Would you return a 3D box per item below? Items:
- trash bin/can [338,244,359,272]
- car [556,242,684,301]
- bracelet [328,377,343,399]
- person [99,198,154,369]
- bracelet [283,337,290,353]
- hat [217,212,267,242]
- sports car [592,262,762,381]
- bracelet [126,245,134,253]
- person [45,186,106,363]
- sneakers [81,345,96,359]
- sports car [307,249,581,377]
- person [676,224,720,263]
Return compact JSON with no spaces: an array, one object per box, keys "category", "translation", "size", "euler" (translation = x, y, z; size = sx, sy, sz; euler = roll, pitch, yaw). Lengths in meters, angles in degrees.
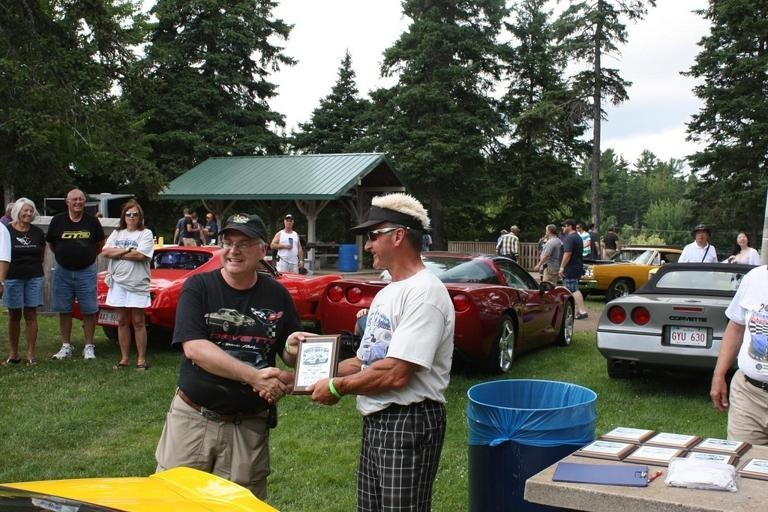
[{"category":"trash bin/can","translation":[-1.278,0.087,25.982],"size":[0.797,0.931,0.821],"euler":[2,6,24]},{"category":"car","translation":[6.138,0.360,18.828],"size":[3.172,1.003,1.536],"euler":[-10,10,-29]},{"category":"bracelet","translation":[-0.387,1.010,5.712],"size":[0.071,0.149,0.115],"euler":[-26,7,-23]},{"category":"person","translation":[-3.596,0.398,10.423],"size":[0.652,2.347,0.491],"euler":[2,1,-9]},{"category":"bracelet","translation":[-0.808,0.733,6.107],"size":[0.035,0.103,0.077],"euler":[-1,-16,2]},{"category":"hat","translation":[-1.113,-0.220,6.180],"size":[0.223,0.156,0.313],"euler":[5,-19,21]},{"category":"sports car","translation":[3.679,0.787,9.722],"size":[1.205,0.826,2.313],"euler":[1,4,35]},{"category":"bracelet","translation":[-3.509,-0.089,10.250],"size":[0.089,0.050,0.125],"euler":[-2,4,-13]},{"category":"person","translation":[-4.462,0.283,10.724],"size":[0.757,2.446,0.389],"euler":[2,2,-26]},{"category":"sneakers","translation":[-4.357,1.420,10.997],"size":[0.121,0.144,0.308],"euler":[18,-5,-35]},{"category":"sports car","translation":[1.608,0.699,11.193],"size":[1.742,1.019,3.277],"euler":[2,3,35]},{"category":"person","translation":[5.357,-0.098,12.623],"size":[0.828,0.834,0.436],"euler":[-1,3,-9]}]
